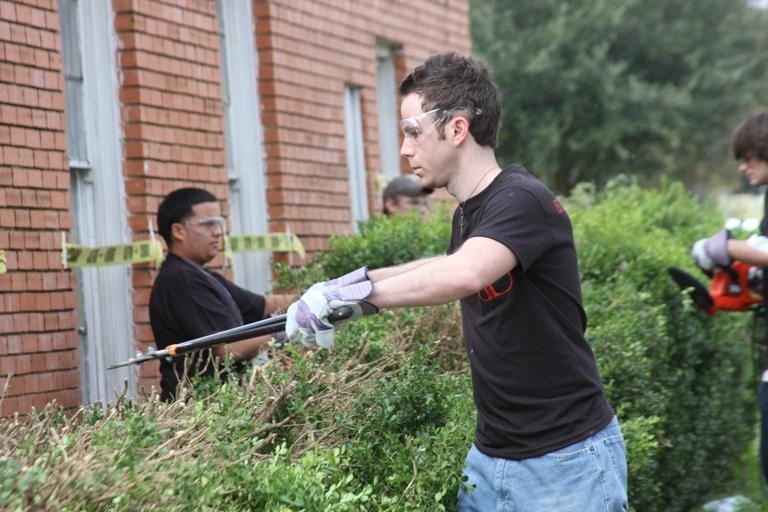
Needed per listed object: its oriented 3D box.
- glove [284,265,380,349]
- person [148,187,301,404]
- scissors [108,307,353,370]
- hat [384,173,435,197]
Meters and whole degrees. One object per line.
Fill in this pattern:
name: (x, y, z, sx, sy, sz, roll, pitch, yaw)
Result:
glove: (-0.271, 0.350, 5.963, 0.509, 0.239, 0.414, -15, 29, 15)
person: (-1.153, 0.271, 7.855, 1.149, 1.545, 1.178, -3, -1, 13)
scissors: (-1.037, 0.581, 7.037, 1.465, 0.181, 0.222, -13, 19, 2)
hat: (0.218, -0.645, 9.607, 0.385, 0.196, 0.590, 0, -3, -9)
